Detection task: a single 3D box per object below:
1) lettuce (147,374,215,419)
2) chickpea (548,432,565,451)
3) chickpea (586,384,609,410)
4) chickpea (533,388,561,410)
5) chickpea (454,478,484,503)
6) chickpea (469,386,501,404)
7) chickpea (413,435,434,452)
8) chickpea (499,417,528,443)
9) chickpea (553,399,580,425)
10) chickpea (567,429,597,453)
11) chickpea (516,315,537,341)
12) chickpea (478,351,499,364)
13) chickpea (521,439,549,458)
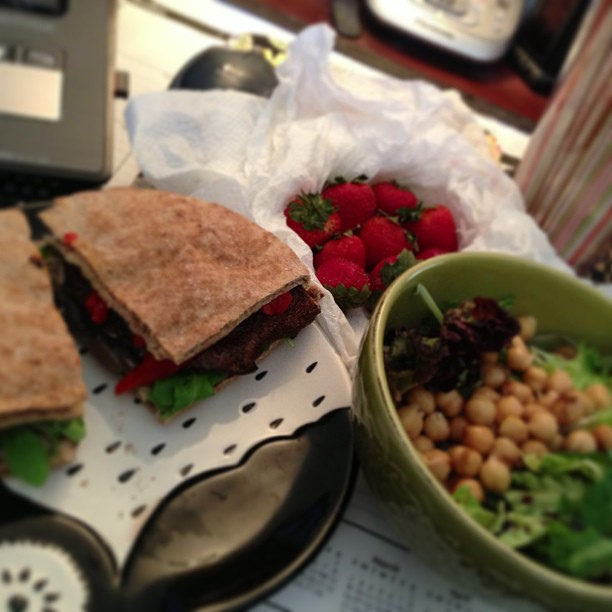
[{"bbox_3d":[-0.159,0.104,0.677,0.084,0.022,0.051,-27,59,-25],"label":"lettuce"},{"bbox_3d":[0.263,0.143,0.564,0.014,0.009,0.016,3,58,-5],"label":"chickpea"},{"bbox_3d":[0.316,0.100,0.588,0.018,0.013,0.023,4,48,-14],"label":"chickpea"},{"bbox_3d":[0.266,0.102,0.588,0.018,0.013,0.022,-6,41,-5],"label":"chickpea"},{"bbox_3d":[0.165,0.183,0.541,0.022,0.011,0.022,10,42,-18],"label":"chickpea"},{"bbox_3d":[0.204,0.098,0.601,0.019,0.022,0.013,1,94,6],"label":"chickpea"},{"bbox_3d":[0.125,0.147,0.571,0.016,0.016,0.019,6,73,-11],"label":"chickpea"},{"bbox_3d":[0.219,0.132,0.569,0.024,0.015,0.026,-32,66,-1],"label":"chickpea"},{"bbox_3d":[0.276,0.113,0.566,0.024,0.015,0.025,0,76,3],"label":"chickpea"},{"bbox_3d":[0.284,0.139,0.545,0.022,0.012,0.023,-2,69,14],"label":"chickpea"},{"bbox_3d":[0.258,0.026,0.628,0.017,0.022,0.025,-1,52,-9],"label":"chickpea"},{"bbox_3d":[0.211,0.058,0.620,0.022,0.017,0.017,1,85,22],"label":"chickpea"},{"bbox_3d":[0.238,0.149,0.559,0.016,0.012,0.020,1,15,-1],"label":"chickpea"}]
